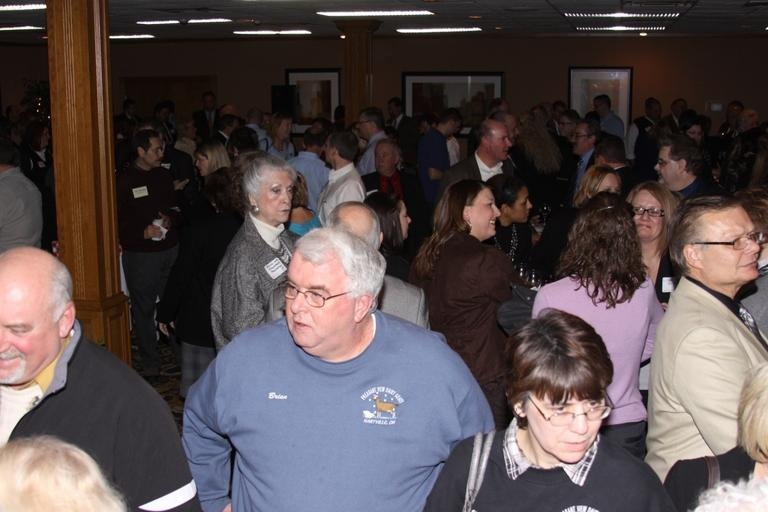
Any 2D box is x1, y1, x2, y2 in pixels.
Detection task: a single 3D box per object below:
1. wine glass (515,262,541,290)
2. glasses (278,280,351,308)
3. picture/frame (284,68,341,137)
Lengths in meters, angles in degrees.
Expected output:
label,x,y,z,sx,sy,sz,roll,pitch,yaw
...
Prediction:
label,x,y,z,sx,sy,sz,roll,pitch,yaw
wine glass,1.015,0.152,4.091,0.163,0.088,0.231,3,10,-1
glasses,-0.281,0.146,2.143,0.132,0.040,0.135,12,7,40
picture/frame,-1.655,-3.636,13.861,1.201,1.407,0.063,0,3,6
